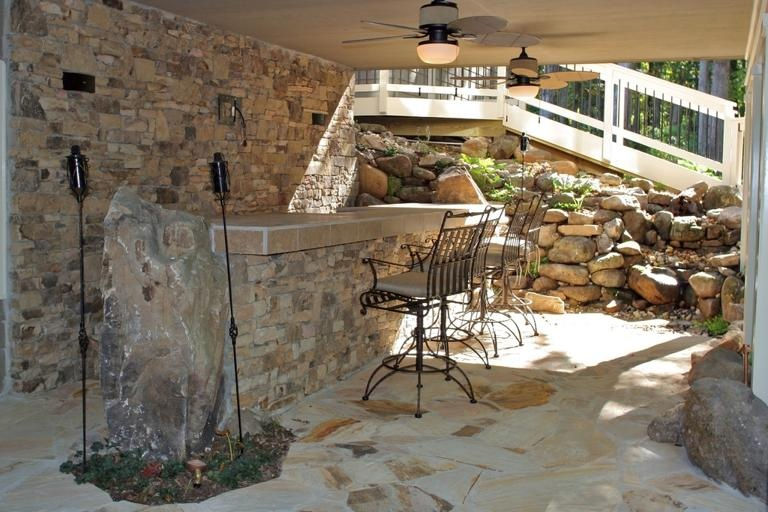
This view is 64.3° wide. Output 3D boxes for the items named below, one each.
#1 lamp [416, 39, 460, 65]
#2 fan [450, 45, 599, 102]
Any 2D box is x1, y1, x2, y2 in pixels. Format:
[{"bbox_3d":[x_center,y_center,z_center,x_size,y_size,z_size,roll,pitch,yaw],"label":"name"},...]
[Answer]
[{"bbox_3d":[0.575,-2.078,6.235,0.375,0.195,0.472,5,14,19],"label":"lamp"},{"bbox_3d":[1.835,-2.501,8.338,1.866,0.609,1.796,-1,8,-18],"label":"fan"}]
